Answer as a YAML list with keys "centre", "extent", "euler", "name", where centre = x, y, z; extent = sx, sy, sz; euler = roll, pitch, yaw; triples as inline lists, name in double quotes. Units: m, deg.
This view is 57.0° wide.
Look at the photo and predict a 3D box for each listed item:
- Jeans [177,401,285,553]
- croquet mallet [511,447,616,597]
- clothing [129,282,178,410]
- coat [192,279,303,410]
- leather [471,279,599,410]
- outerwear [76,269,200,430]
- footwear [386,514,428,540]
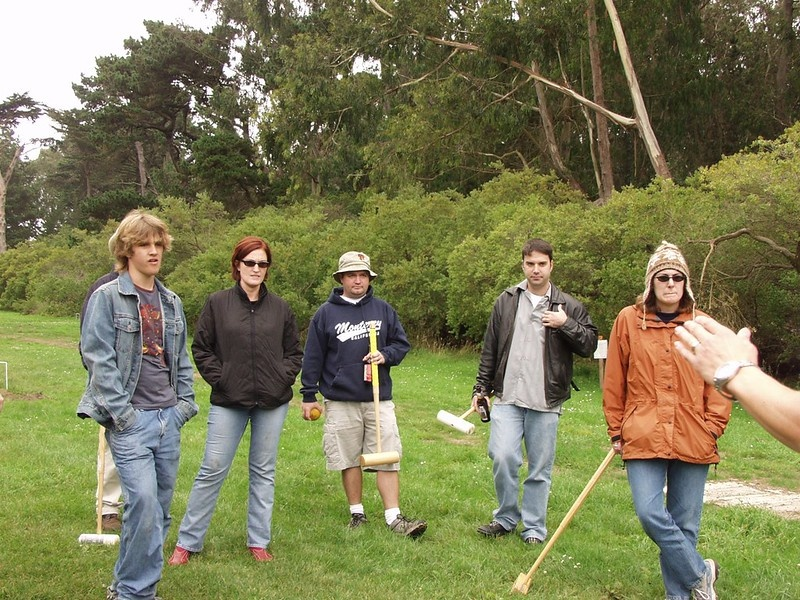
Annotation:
- centre: [-1.791, 1.664, 7.818]
  extent: [1.071, 2.512, 0.545]
  euler: [3, 19, -15]
  name: "Jeans"
- centre: [1.812, 2.537, 8.227]
  extent: [0.135, 1.741, 0.193]
  euler: [31, -11, 37]
  name: "croquet mallet"
- centre: [-2.317, 0.585, 7.008]
  extent: [0.340, 0.907, 0.291]
  euler: [-3, -27, -5]
  name: "clothing"
- centre: [-1.622, 0.511, 7.971]
  extent: [1.151, 1.390, 0.623]
  euler: [0, -8, -26]
  name: "coat"
- centre: [1.550, 0.490, 8.499]
  extent: [1.214, 1.450, 0.680]
  euler: [4, 4, 23]
  name: "leather"
- centre: [-2.464, 0.463, 6.867]
  extent: [1.015, 1.435, 0.513]
  euler: [0, 1, -31]
  name: "outerwear"
- centre: [0.090, 2.568, 8.303]
  extent: [0.390, 0.221, 0.184]
  euler: [-9, 0, 26]
  name: "footwear"
